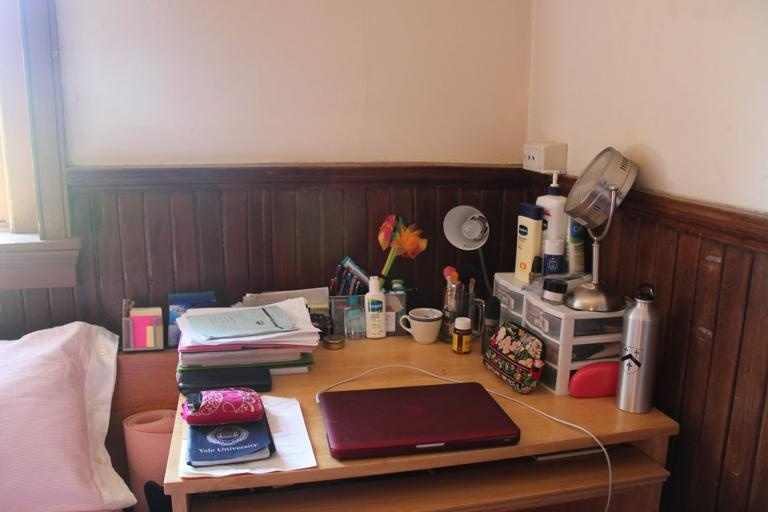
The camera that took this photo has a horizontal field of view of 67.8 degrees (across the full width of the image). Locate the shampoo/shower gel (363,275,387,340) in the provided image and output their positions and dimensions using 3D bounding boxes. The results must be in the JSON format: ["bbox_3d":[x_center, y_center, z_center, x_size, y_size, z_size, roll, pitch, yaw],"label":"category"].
[{"bbox_3d":[-0.024,0.198,2.266,0.079,0.238,0.135,5,16,29],"label":"shampoo/shower gel"}]

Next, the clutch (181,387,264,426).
[{"bbox_3d":[-0.483,0.452,1.731,0.187,0.055,0.113,-1,11,-16],"label":"clutch"}]

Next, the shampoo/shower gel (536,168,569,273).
[{"bbox_3d":[0.623,-0.100,2.117,0.103,0.312,0.120,-1,14,5],"label":"shampoo/shower gel"}]

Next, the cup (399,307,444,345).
[{"bbox_3d":[0.154,0.272,2.261,0.154,0.109,0.127,3,12,17],"label":"cup"}]

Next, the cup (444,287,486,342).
[{"bbox_3d":[0.320,0.224,2.259,0.212,0.233,0.131,0,1,-1],"label":"cup"}]

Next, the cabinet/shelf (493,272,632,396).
[{"bbox_3d":[0.623,0.369,2.071,0.304,0.323,0.524,-1,19,-11],"label":"cabinet/shelf"}]
